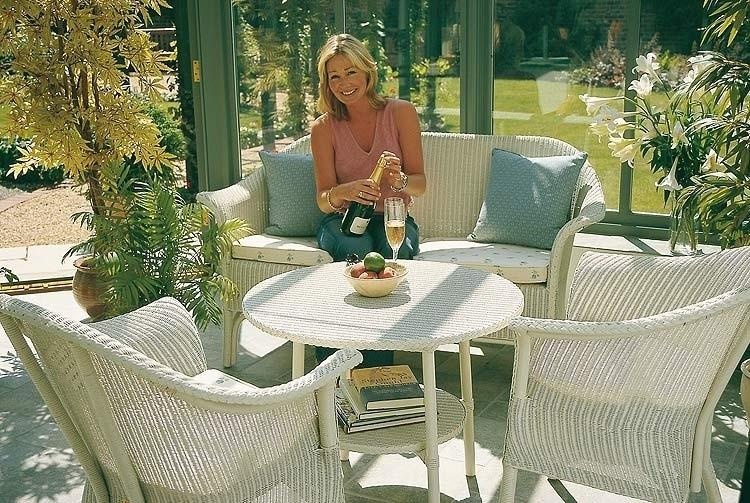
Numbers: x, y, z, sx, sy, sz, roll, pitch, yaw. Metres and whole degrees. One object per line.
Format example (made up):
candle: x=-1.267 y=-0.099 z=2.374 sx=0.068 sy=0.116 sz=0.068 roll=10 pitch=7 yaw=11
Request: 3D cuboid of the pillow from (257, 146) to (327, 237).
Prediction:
pillow: x=-0.525 y=-0.369 z=4.041 sx=0.370 sy=0.484 sz=0.335 roll=16 pitch=21 yaw=36

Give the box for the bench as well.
bench: x=0.401 y=-0.406 z=5.209 sx=3.353 sy=1.881 sz=1.543 roll=2 pitch=12 yaw=11

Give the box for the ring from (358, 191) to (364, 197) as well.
ring: x=-0.070 y=-0.286 z=3.305 sx=0.021 sy=0.025 sz=0.009 roll=0 pitch=3 yaw=20

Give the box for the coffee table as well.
coffee table: x=0.093 y=0.529 z=3.076 sx=1.182 sy=0.999 sz=1.162 roll=1 pitch=10 yaw=9

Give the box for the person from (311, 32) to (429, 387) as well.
person: x=-0.059 y=-0.205 z=3.790 sx=0.681 sy=1.838 sz=1.023 roll=2 pitch=25 yaw=6

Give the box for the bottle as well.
bottle: x=-0.044 y=-0.286 z=3.517 sx=0.160 sy=0.528 sz=0.158 roll=15 pitch=44 yaw=-15

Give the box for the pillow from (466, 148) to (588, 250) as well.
pillow: x=0.880 y=-0.314 z=3.877 sx=0.587 sy=0.485 sz=0.340 roll=7 pitch=22 yaw=23
